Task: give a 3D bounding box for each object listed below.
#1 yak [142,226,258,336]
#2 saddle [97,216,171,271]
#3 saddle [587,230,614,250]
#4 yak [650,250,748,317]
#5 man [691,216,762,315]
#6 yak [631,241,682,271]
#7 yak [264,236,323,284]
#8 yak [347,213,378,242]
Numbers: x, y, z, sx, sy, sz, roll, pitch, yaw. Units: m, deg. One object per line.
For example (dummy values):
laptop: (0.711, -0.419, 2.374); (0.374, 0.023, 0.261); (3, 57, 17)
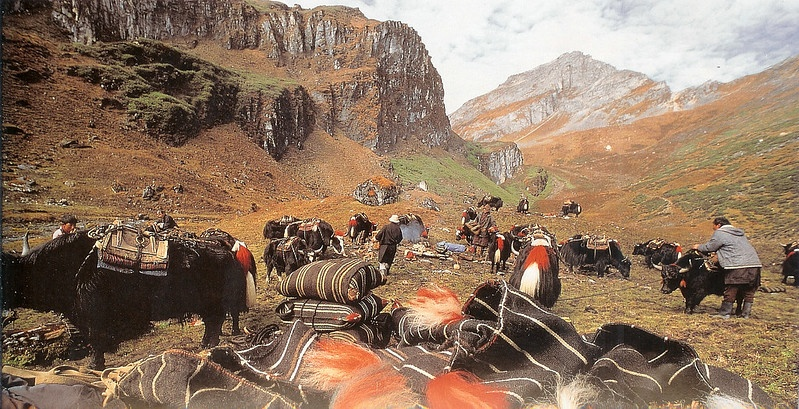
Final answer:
yak: (-4.085, 1.591, 11.219); (1.007, 2.100, 3.568); (-7, -5, 11)
saddle: (-5.377, 0.822, 10.861); (1.285, 1.014, 0.450); (11, 29, -11)
saddle: (5.863, 1.095, 15.327); (0.690, 0.417, 0.811); (1, -4, 0)
yak: (6.982, 1.889, 12.070); (2.303, 1.041, 0.675); (7, -2, -16)
man: (7.485, 1.443, 12.020); (1.086, 2.035, 1.713); (9, -7, -31)
yak: (6.684, 1.290, 13.521); (0.434, 0.514, 1.351); (1, 2, -31)
yak: (-2.834, 1.467, 13.469); (0.728, 1.073, 2.178); (3, -2, -42)
yak: (-1.233, 0.706, 17.297); (0.502, 0.878, 1.891); (-1, 6, 18)
